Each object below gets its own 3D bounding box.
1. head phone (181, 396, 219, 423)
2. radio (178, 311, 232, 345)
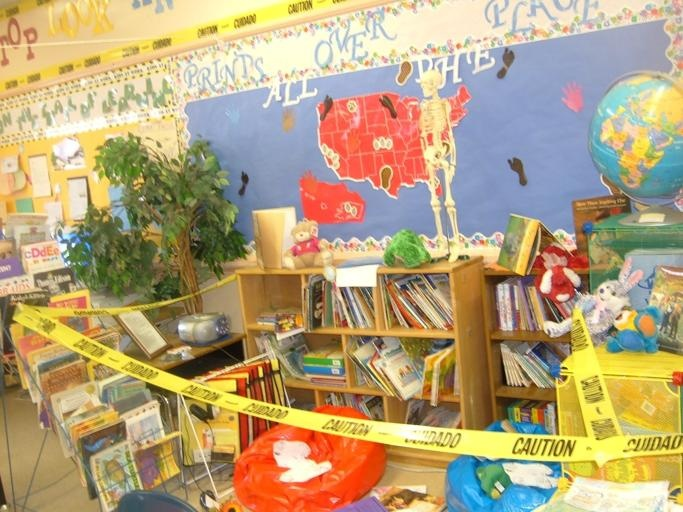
[{"bbox_3d":[-0.876,0.955,3.002,0.291,0.096,0.079,-4,6,31],"label":"head phone"},{"bbox_3d":[-1.022,0.531,3.618,0.246,0.152,0.276,3,4,23],"label":"radio"}]
